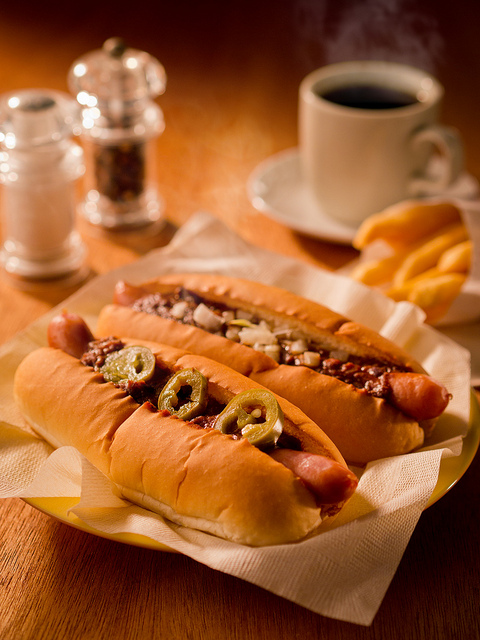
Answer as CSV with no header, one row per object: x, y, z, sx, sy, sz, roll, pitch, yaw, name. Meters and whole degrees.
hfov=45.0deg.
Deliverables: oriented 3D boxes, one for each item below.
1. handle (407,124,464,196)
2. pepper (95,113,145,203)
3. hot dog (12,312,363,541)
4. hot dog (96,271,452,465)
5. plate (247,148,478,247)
0.711,-0.554,2.064,0.171,0.274,0.146,29,44,32,handle
-0.510,-0.656,2.423,0.245,0.382,0.236,-15,45,-24,pepper
-0.138,0.243,1.297,0.811,0.224,0.375,20,24,28,hot dog
0.058,0.160,1.571,0.871,0.244,0.421,23,23,26,hot dog
0.248,-0.503,2.359,0.624,0.135,0.598,9,32,14,plate
